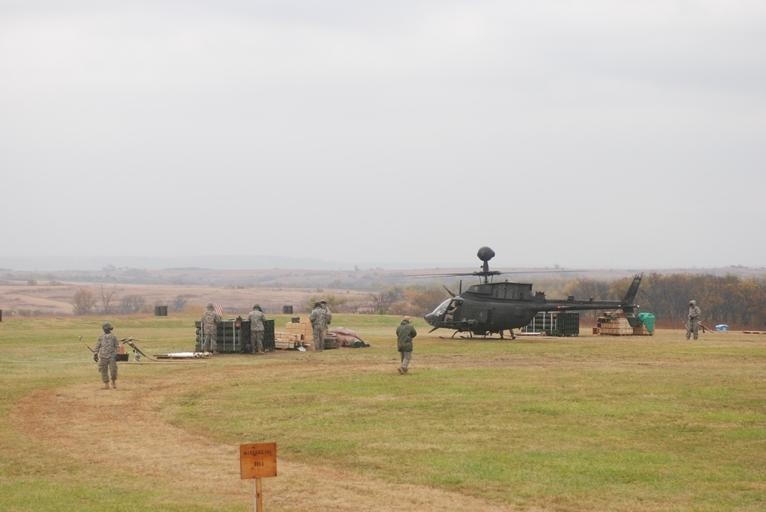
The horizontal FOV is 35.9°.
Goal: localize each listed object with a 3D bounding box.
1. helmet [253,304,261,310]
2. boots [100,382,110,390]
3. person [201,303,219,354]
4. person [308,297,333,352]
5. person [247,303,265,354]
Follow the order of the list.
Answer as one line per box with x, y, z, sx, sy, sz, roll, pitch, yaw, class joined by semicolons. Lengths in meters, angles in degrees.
-6.830;2.718;63.754;0.511;0.450;0.498;1;-21;-2;helmet
-12.118;5.741;51.499;0.369;0.464;0.242;9;-38;-14;boots
-9.337;3.935;63.553;0.919;2.645;1.449;4;-3;-7;person
-3.607;3.920;65.664;1.019;2.717;1.315;4;-3;2;person
-6.919;3.995;64.259;0.738;2.628;1.516;4;-3;6;person
